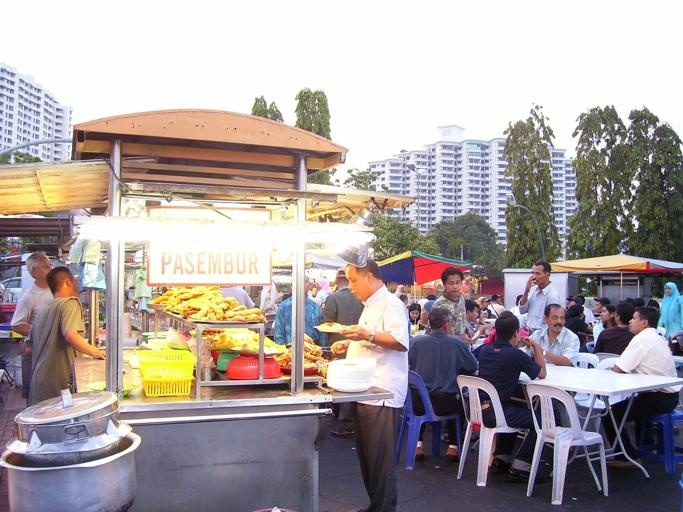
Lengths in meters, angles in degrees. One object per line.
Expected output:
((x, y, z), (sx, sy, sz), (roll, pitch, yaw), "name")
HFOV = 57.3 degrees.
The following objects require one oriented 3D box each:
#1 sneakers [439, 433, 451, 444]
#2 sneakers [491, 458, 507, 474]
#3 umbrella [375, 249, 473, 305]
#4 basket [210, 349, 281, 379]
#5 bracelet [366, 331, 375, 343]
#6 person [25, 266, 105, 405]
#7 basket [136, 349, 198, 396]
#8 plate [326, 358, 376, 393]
((1.385, 2.419, 8.329), (0.081, 0.116, 0.271), (-4, -21, 4), "sneakers")
((1.784, 2.369, 7.116), (0.180, 0.189, 0.142), (-1, 3, -9), "sneakers")
((2.042, 0.534, 16.348), (2.318, 0.897, 2.372), (-1, -17, 3), "umbrella")
((-0.766, 0.893, 5.118), (0.532, 0.210, 0.277), (0, 5, -2), "basket")
((0.257, 0.682, 5.258), (0.054, 0.079, 0.086), (5, -3, 9), "bracelet")
((-2.701, 0.836, 6.109), (0.632, 1.375, 1.199), (-3, 6, -28), "person")
((-1.394, 0.932, 4.996), (0.510, 0.336, 0.380), (0, 5, -1), "basket")
((0.085, 0.988, 5.176), (0.395, 0.258, 0.261), (0, 5, 1), "plate")
